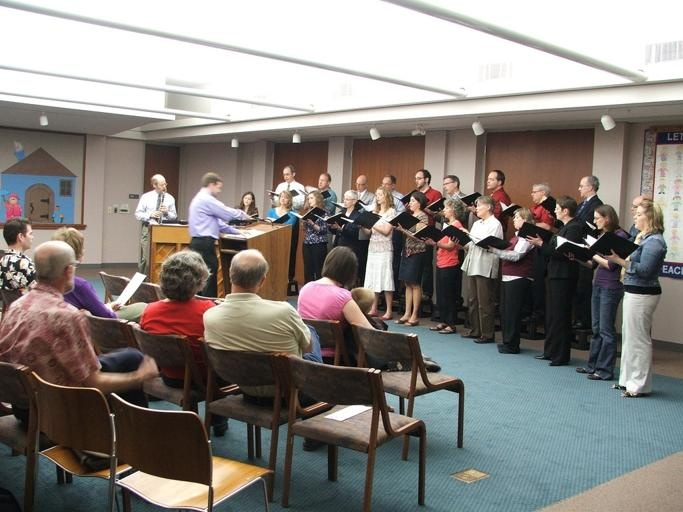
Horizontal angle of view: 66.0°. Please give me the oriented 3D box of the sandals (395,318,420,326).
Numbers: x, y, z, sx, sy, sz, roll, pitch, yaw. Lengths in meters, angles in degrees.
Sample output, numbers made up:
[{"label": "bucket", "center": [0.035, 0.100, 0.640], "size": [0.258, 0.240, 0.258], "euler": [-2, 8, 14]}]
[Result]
[{"label": "sandals", "center": [1.025, 1.040, 8.143], "size": [0.133, 0.082, 0.302], "euler": [-5, -13, 36]}]

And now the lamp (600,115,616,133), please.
[{"label": "lamp", "center": [3.606, -1.808, 7.109], "size": [0.173, 0.239, 0.299], "euler": [-27, -1, 29]}]

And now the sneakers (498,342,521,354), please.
[{"label": "sneakers", "center": [2.190, 1.226, 6.950], "size": [0.310, 0.228, 0.116], "euler": [-2, -4, 16]}]

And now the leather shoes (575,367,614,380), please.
[{"label": "leather shoes", "center": [2.854, 1.345, 5.946], "size": [0.356, 0.157, 0.124], "euler": [11, 6, 42]}]

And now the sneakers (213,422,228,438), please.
[{"label": "sneakers", "center": [-0.941, 1.357, 4.132], "size": [0.065, 0.141, 0.145], "euler": [6, 10, 14]}]

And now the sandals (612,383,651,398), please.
[{"label": "sandals", "center": [2.980, 1.409, 5.436], "size": [0.348, 0.153, 0.121], "euler": [-5, 2, -1]}]
